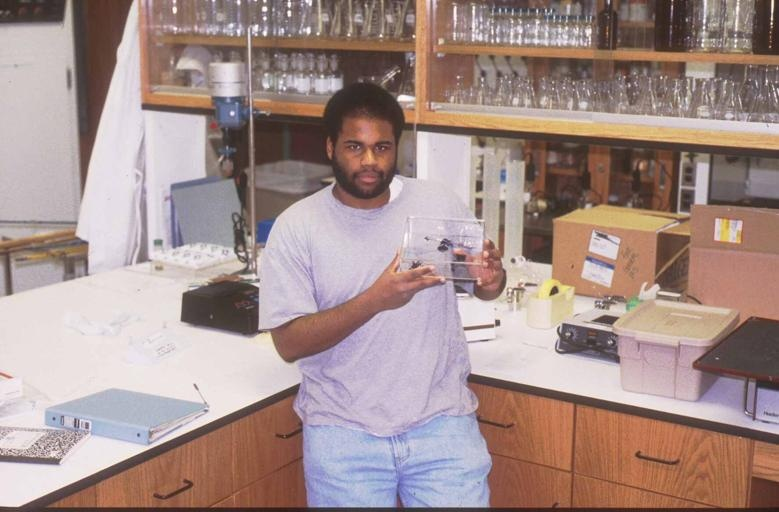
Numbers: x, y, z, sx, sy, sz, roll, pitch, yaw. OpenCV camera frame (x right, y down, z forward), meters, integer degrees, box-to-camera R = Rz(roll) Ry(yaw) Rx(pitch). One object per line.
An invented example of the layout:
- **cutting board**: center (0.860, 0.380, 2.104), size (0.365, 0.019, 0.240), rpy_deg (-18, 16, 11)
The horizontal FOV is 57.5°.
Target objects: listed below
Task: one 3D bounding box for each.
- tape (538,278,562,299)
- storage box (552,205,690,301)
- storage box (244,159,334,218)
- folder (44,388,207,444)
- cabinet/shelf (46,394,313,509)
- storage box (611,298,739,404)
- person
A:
- **tape**: center (0.757, 0.156, 3.338), size (0.068, 0.064, 0.020), rpy_deg (-29, 42, -35)
- **storage box**: center (1.189, -0.051, 3.620), size (0.522, 0.303, 0.517), rpy_deg (10, 16, 32)
- **storage box**: center (-1.040, -0.724, 7.300), size (0.732, 0.421, 0.713), rpy_deg (-11, 15, -37)
- **folder**: center (-0.943, 0.560, 2.534), size (0.262, 0.048, 0.245), rpy_deg (6, 7, 18)
- **cabinet/shelf**: center (-0.625, 0.785, 2.602), size (0.504, 0.116, 0.551), rpy_deg (6, 15, 34)
- **storage box**: center (1.146, 0.403, 2.857), size (0.394, 0.241, 0.505), rpy_deg (3, 5, 33)
- **person**: center (-0.037, 0.169, 2.621), size (0.881, 1.572, 0.559), rpy_deg (2, 11, 7)
